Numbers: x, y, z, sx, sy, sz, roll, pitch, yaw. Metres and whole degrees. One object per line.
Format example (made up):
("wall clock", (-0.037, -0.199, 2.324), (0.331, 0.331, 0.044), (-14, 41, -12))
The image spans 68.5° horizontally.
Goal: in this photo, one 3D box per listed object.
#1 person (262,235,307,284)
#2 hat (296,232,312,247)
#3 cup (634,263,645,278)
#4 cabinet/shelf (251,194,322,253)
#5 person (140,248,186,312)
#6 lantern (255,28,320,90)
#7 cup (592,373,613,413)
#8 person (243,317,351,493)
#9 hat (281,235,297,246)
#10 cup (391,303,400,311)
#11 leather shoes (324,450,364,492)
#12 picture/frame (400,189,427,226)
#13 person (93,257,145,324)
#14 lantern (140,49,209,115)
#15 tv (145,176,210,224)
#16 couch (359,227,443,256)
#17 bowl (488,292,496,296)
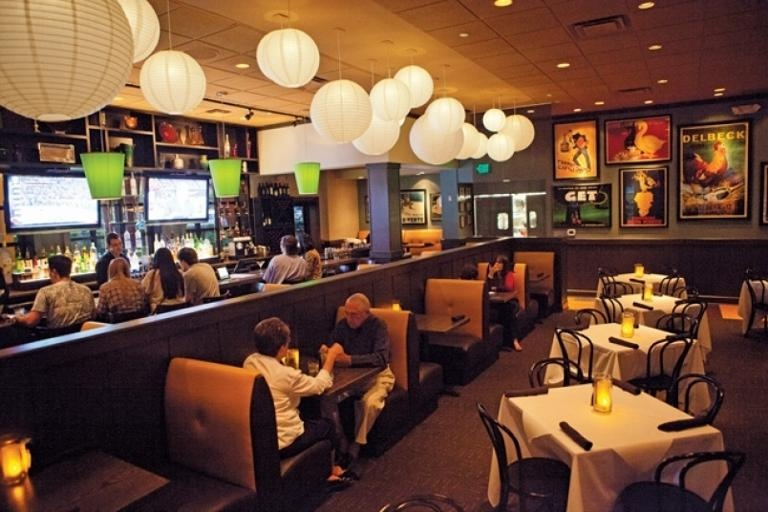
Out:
("person", (-1.416, 0.104, 8.366), (0.645, 0.783, 0.441), (4, 11, -31))
("hat", (-1.575, -0.304, 11.074), (0.258, 0.236, 0.648), (-14, 8, 2))
("cup", (4.139, 0.255, 9.124), (0.195, 0.295, 0.181), (0, -4, 0))
("cabinet/shelf", (-2.154, -0.649, 13.236), (1.442, 1.334, 0.467), (-5, -4, -26))
("person", (-2.655, 0.291, 6.852), (0.531, 0.743, 0.444), (-8, 16, -42))
("lantern", (-0.903, -1.980, 5.702), (0.555, 0.462, 0.605), (8, 18, 25))
("cup", (1.785, 1.129, 4.604), (0.146, 0.300, 0.107), (-1, 8, 19))
("person", (-0.787, 1.244, 4.937), (0.706, 1.436, 0.424), (-10, 10, -43))
("hat", (-1.412, -0.215, 8.349), (0.184, 0.144, 0.254), (-6, 9, -33))
("cup", (0.156, 0.616, 6.665), (0.081, 0.090, 0.080), (0, 3, 0))
("leather shoes", (-0.391, 2.056, 5.317), (0.168, 0.234, 0.549), (-11, -18, 18))
("picture/frame", (0.880, -1.393, 15.976), (1.244, 1.362, 0.142), (4, 8, 37))
("person", (-3.122, 0.429, 6.604), (0.665, 0.749, 0.479), (-2, 12, -12))
("lantern", (-2.016, -1.641, 5.482), (0.596, 0.647, 0.597), (1, 5, 9))
("tv", (-3.590, -0.934, 9.797), (0.117, 0.879, 1.332), (2, 6, 28))
("couch", (1.037, -0.422, 15.363), (2.268, 0.732, 0.909), (2, 4, 18))
("bowl", (1.621, 0.569, 8.374), (0.104, 0.025, 0.109), (-1, 2, 0))
